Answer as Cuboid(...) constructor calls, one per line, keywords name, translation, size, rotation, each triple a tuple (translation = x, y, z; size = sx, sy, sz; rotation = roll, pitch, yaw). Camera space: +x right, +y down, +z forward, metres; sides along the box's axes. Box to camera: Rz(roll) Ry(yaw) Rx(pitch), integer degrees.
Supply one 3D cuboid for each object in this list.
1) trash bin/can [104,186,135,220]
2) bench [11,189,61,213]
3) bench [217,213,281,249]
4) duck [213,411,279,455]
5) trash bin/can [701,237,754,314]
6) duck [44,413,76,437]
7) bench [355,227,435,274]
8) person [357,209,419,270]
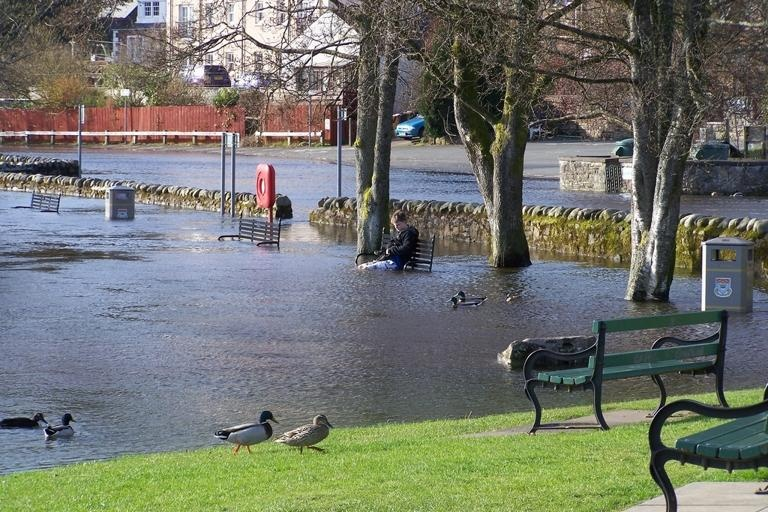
Cuboid(name="trash bin/can", translation=(-8.338, -1.681, 49.029), size=(1.014, 1.269, 1.011), rotation=(-1, 2, -34))
Cuboid(name="bench", translation=(-11.990, -1.918, 53.932), size=(1.190, 0.492, 0.911), rotation=(2, -3, 38))
Cuboid(name="bench", translation=(-3.532, -0.686, 41.854), size=(1.060, 0.710, 2.385), rotation=(-2, 3, -31))
Cuboid(name="duck", translation=(-2.188, 2.686, 24.486), size=(0.912, 0.639, 0.869), rotation=(-1, 2, -6))
Cuboid(name="trash bin/can", translation=(6.835, 0.335, 31.531), size=(1.009, 1.488, 0.539), rotation=(0, 2, 10))
Cuboid(name="duck", translation=(-5.258, 2.707, 25.137), size=(0.608, 0.432, 0.247), rotation=(4, -1, -38))
Cuboid(name="bench", translation=(0.368, 0.040, 36.717), size=(1.941, 0.884, 0.964), rotation=(2, 4, 44))
Cuboid(name="person", translation=(0.052, -0.406, 37.331), size=(1.491, 1.611, 1.126), rotation=(4, 9, 14))
